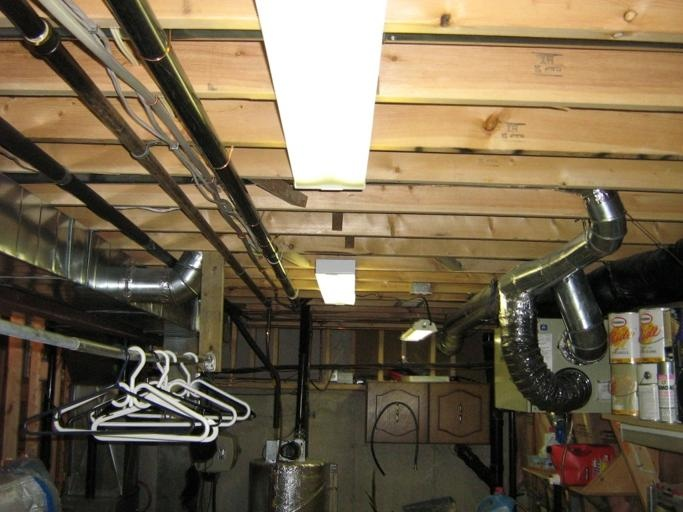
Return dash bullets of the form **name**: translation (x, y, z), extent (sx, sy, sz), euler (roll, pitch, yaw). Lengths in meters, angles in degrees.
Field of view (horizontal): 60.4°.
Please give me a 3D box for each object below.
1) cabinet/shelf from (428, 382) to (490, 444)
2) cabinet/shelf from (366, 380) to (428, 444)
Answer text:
- **cabinet/shelf**: translation (1.385, 1.895, 6.969), extent (0.894, 0.637, 0.405), euler (1, -11, 1)
- **cabinet/shelf**: translation (0.657, 1.883, 6.981), extent (0.920, 0.658, 0.419), euler (0, -10, 0)
